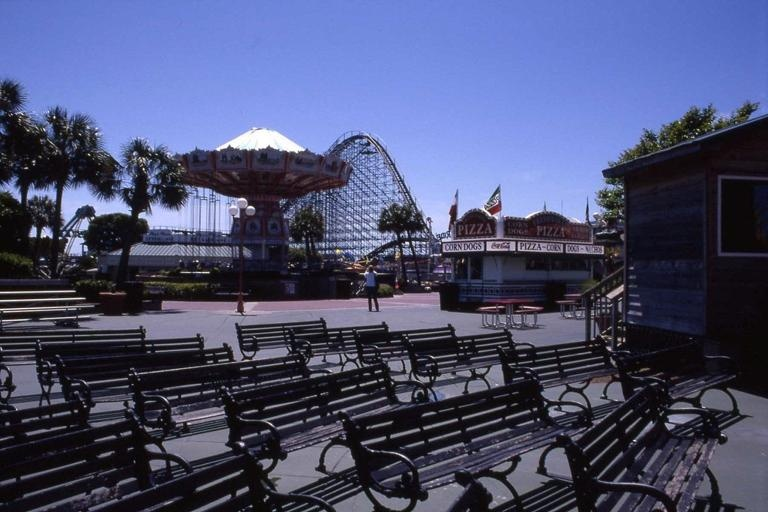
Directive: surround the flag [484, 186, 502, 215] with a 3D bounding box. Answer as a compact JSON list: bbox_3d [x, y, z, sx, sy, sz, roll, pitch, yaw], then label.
[{"bbox_3d":[4.687,-2.424,23.643,0.669,1.274,0.967,-2,-2,6],"label":"flag"}]
